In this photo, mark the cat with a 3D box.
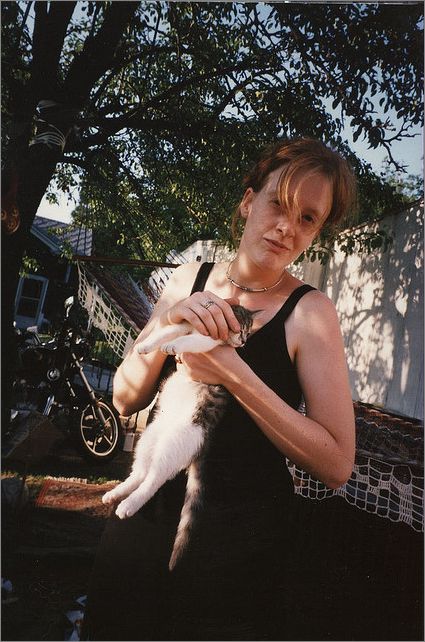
[{"bbox_3d":[-0.078,0.408,1.510,0.222,0.857,0.378,21,-5,34],"label":"cat"}]

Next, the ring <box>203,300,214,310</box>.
[{"bbox_3d":[-0.011,-0.048,1.388,0.026,0.027,0.026,-1,-21,0],"label":"ring"}]
